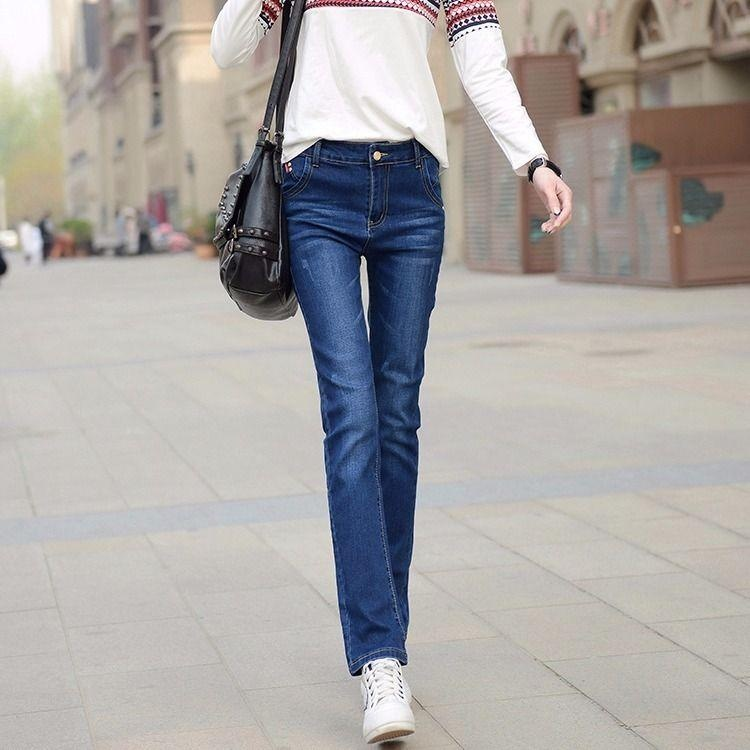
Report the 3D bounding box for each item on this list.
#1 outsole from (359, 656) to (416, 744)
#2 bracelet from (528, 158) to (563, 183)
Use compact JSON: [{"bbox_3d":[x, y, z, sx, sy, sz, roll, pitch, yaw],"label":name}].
[{"bbox_3d":[0.016,0.489,1.348,0.057,0.069,0.164,-6,-5,0],"label":"outsole"},{"bbox_3d":[0.266,-0.324,1.421,0.050,0.036,0.072,0,7,9],"label":"bracelet"}]
